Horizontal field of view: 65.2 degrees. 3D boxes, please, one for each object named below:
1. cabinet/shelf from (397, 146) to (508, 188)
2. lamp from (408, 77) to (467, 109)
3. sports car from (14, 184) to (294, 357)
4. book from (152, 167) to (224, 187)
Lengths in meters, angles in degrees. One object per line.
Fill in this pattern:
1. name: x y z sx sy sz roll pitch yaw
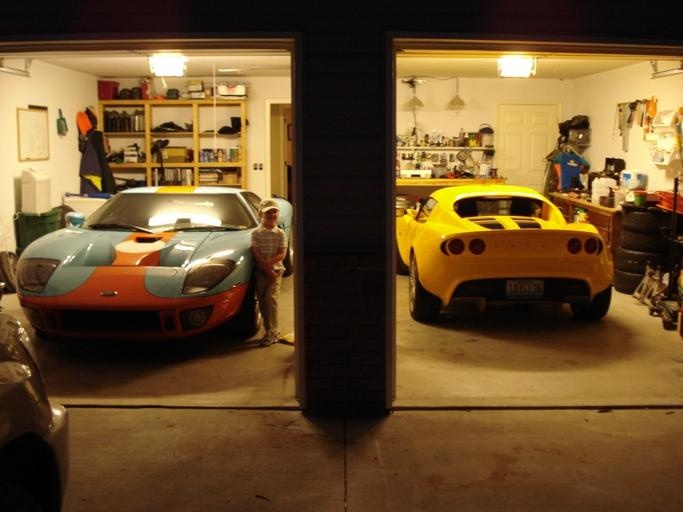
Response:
1. cabinet/shelf: 2.294 -1.948 11.349 2.199 0.811 1.094 1 12 4
2. lamp: 1.849 -3.469 11.366 1.651 0.692 0.848 -9 15 -36
3. sports car: -1.767 -0.017 5.073 1.629 0.687 2.630 1 8 1
4. book: -3.158 -1.660 11.078 1.408 0.341 0.432 -3 13 -14
